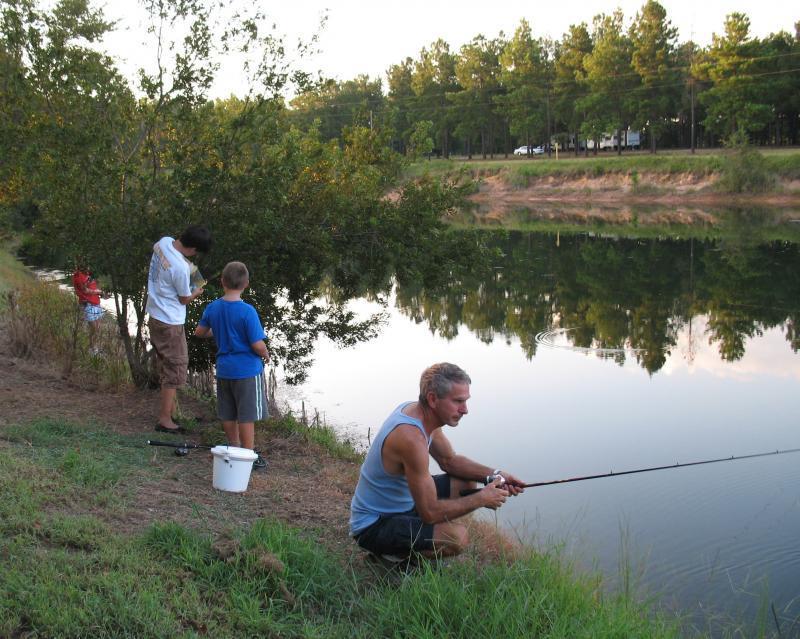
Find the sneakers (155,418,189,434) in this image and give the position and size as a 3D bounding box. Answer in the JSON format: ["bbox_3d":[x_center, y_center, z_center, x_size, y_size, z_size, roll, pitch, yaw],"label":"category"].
[{"bbox_3d":[-2.666,1.226,11.806,0.336,0.174,0.138,2,7,-21],"label":"sneakers"}]

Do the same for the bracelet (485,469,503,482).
[{"bbox_3d":[0.899,1.482,9.569,0.103,0.110,0.189,-29,-13,-19],"label":"bracelet"}]

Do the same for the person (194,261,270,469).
[{"bbox_3d":[-1.778,0.399,10.868,0.702,2.000,0.456,1,9,1],"label":"person"}]

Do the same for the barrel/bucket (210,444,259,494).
[{"bbox_3d":[-1.710,1.499,10.327,0.388,0.415,0.450,6,-7,-6],"label":"barrel/bucket"}]
